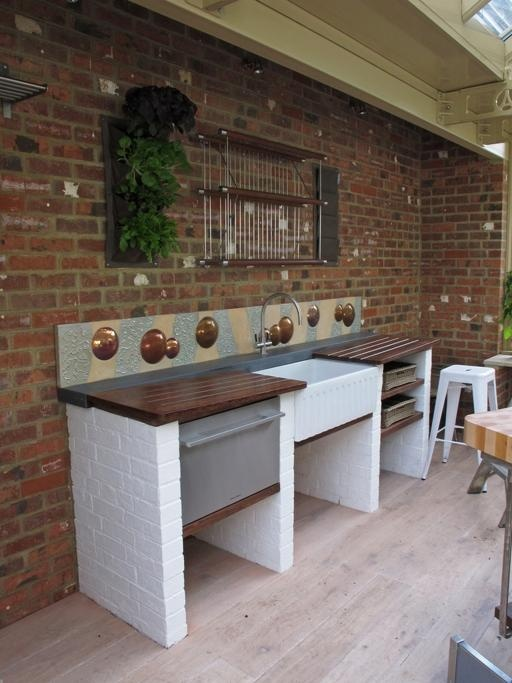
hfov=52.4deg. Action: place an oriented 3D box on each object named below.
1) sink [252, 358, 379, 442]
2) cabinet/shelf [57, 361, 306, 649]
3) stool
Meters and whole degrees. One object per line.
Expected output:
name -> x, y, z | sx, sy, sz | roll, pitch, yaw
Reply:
sink -> 0.304, 0.203, 2.616 | 0.363, 0.216, 0.561 | 10, 14, 43
cabinet/shelf -> -0.285, 0.573, 2.061 | 0.666, 0.844, 0.834 | 3, 5, 38
stool -> 1.422, 0.423, 3.597 | 0.546, 0.832, 0.591 | 4, 6, 44
